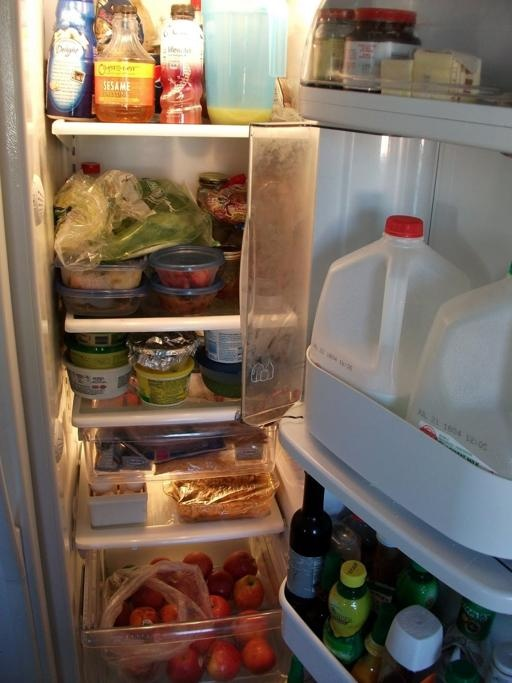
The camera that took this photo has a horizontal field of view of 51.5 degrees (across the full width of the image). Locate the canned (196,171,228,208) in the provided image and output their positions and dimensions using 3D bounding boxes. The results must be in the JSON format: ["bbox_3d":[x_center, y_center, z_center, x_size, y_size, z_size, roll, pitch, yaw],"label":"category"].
[{"bbox_3d":[-0.117,-0.372,1.294,0.105,0.099,0.066,-3,35,-12],"label":"canned"}]

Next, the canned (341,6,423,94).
[{"bbox_3d":[0.146,-0.347,0.628,0.087,0.102,0.174,5,22,14],"label":"canned"}]

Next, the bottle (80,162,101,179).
[{"bbox_3d":[-0.374,-0.392,1.205,0.049,0.030,0.049,5,36,-4],"label":"bottle"}]
